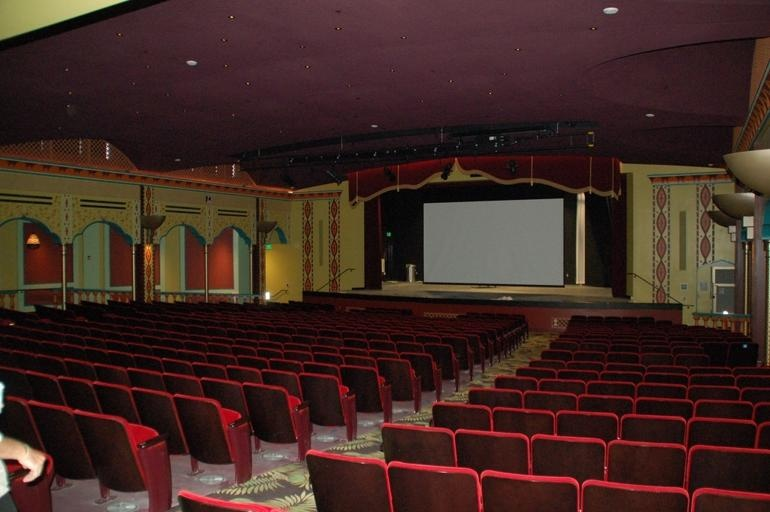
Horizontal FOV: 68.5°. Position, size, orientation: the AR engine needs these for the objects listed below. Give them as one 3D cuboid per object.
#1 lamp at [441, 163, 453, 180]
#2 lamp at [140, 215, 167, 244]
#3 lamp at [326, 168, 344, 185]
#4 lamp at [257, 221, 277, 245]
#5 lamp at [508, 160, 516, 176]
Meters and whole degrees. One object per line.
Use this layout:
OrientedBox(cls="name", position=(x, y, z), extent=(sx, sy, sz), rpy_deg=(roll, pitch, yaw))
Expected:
OrientedBox(cls="lamp", position=(1.950, -2.755, 17.909), extent=(0.407, 0.451, 0.829), rpy_deg=(0, 1, 5))
OrientedBox(cls="lamp", position=(-7.662, -0.913, 19.227), extent=(1.080, 1.086, 1.003), rpy_deg=(-4, 11, -41))
OrientedBox(cls="lamp", position=(-1.872, -3.090, 21.296), extent=(0.284, 0.347, 1.886), rpy_deg=(35, 2, -17))
OrientedBox(cls="lamp", position=(-4.716, -0.941, 22.242), extent=(0.625, 0.823, 4.007), rpy_deg=(-1, 0, -13))
OrientedBox(cls="lamp", position=(3.943, -2.814, 17.536), extent=(0.282, 0.430, 0.158), rpy_deg=(-1, 1, -5))
